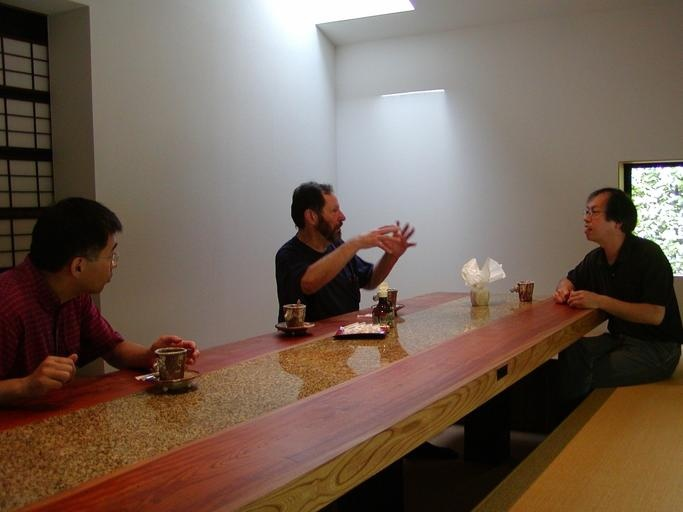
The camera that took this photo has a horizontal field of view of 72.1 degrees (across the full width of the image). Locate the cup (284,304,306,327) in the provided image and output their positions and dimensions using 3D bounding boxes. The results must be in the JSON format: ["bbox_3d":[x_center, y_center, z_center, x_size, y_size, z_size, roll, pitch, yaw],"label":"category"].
[{"bbox_3d":[-0.222,0.276,2.176,0.094,0.090,0.089,-3,0,0],"label":"cup"}]

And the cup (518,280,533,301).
[{"bbox_3d":[1.195,0.222,3.008,0.104,0.127,0.110,-2,0,0],"label":"cup"}]

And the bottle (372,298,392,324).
[{"bbox_3d":[0.206,0.277,2.398,0.106,0.213,0.127,0,2,11],"label":"bottle"}]

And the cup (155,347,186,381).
[{"bbox_3d":[-0.545,0.341,1.496,0.081,0.082,0.102,-1,-3,-21],"label":"cup"}]

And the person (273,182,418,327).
[{"bbox_3d":[0.083,0.036,3.199,0.804,1.474,0.906,-2,4,15],"label":"person"}]
